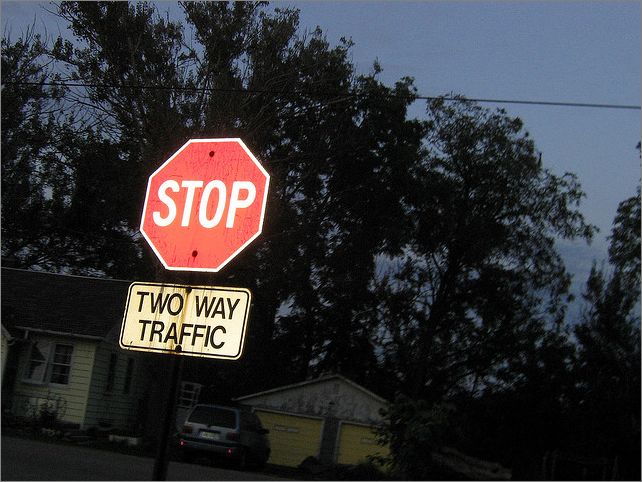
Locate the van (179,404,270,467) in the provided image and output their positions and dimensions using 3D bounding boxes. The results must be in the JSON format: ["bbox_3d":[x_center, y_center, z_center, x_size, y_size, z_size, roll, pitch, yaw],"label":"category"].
[{"bbox_3d":[-2.334,5.085,18.470,1.291,1.172,2.453,-1,-8,16],"label":"van"}]
